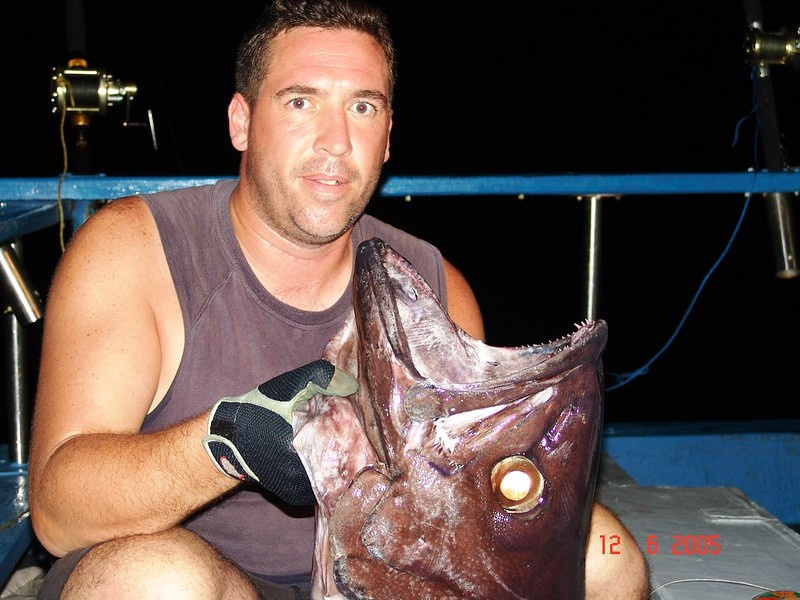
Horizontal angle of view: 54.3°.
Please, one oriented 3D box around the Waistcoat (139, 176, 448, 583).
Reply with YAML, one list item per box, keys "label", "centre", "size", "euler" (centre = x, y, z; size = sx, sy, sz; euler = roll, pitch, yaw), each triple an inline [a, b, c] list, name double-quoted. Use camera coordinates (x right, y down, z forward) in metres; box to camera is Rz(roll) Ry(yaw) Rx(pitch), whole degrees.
- label: "Waistcoat"
  centre: [-0.517, 0.235, 2.686]
  size: [1.172, 1.216, 0.468]
  euler: [-3, -12, -29]
